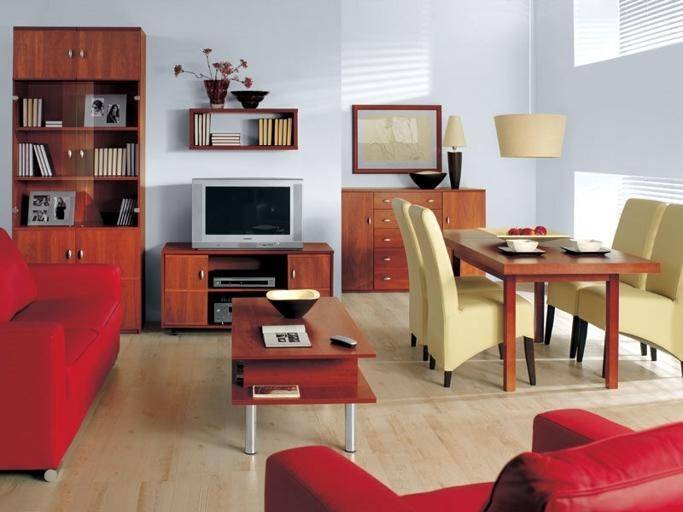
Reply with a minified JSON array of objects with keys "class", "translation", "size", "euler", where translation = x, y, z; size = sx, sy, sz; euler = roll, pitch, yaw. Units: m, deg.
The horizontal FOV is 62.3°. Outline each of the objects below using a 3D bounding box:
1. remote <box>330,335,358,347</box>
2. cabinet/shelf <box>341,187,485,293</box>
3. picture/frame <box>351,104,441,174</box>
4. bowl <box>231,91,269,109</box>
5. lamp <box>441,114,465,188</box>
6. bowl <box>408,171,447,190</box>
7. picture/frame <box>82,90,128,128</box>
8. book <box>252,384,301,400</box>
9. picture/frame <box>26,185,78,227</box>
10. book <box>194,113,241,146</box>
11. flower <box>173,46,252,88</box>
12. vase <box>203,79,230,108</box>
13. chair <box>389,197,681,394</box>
[{"class":"remote","translation":[0.011,0.441,2.982],"size":[0.113,0.025,0.056],"euler":[6,8,37]},{"class":"cabinet/shelf","translation":[0.622,-0.173,5.495],"size":[1.303,0.823,0.435],"euler":[0,2,-3]},{"class":"picture/frame","translation":[0.631,-1.462,6.960],"size":[0.998,0.682,0.038],"euler":[0,3,-5]},{"class":"bowl","translation":[-0.811,-1.420,5.106],"size":[0.224,0.079,0.214],"euler":[0,5,0]},{"class":"lamp","translation":[1.369,-1.256,6.816],"size":[0.248,0.864,0.542],"euler":[3,11,10]},{"class":"bowl","translation":[1.039,-0.898,6.676],"size":[0.301,0.106,0.288],"euler":[0,3,0]},{"class":"picture/frame","translation":[-2.114,-1.298,5.013],"size":[0.402,0.319,0.037],"euler":[0,6,-9]},{"class":"book","translation":[-0.327,0.693,2.890],"size":[0.248,0.031,0.140],"euler":[0,10,-4]},{"class":"picture/frame","translation":[-2.580,-0.435,5.027],"size":[0.425,0.335,0.045],"euler":[0,-6,-8]},{"class":"book","translation":[-1.148,-1.153,5.178],"size":[0.340,0.255,0.118],"euler":[0,4,-9]},{"class":"flower","translation":[-1.154,-1.689,5.143],"size":[0.544,0.207,0.430],"euler":[1,14,-34]},{"class":"vase","translation":[-1.100,-1.450,5.142],"size":[0.281,0.271,0.240],"euler":[3,13,2]},{"class":"chair","translation":[0.932,0.231,4.013],"size":[0.918,1.193,1.065],"euler":[-1,11,-9]}]
